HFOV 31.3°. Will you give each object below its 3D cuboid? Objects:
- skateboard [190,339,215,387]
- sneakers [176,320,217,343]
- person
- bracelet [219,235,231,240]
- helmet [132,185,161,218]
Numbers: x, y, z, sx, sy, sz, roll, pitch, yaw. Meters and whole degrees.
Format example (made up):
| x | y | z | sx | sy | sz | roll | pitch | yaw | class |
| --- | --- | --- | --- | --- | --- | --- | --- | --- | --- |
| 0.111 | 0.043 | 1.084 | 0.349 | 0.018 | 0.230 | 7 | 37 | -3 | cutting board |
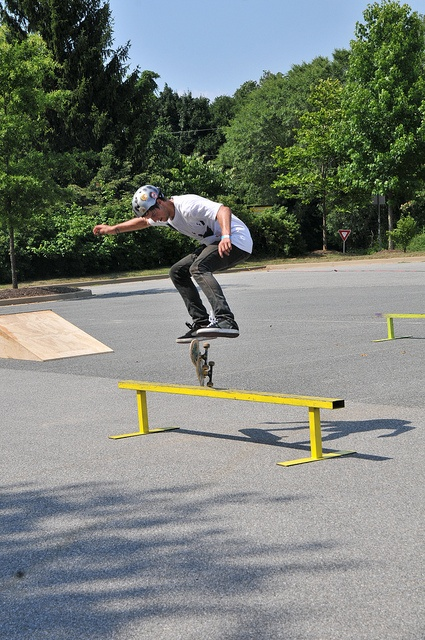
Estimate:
| x | y | z | sx | sy | sz | roll | pitch | yaw | class |
| --- | --- | --- | --- | --- | --- | --- | --- | --- | --- |
| -0.090 | 0.356 | 6.161 | 0.140 | 0.067 | 0.476 | -9 | -39 | 0 | skateboard |
| -0.143 | 0.101 | 6.486 | 0.481 | 0.203 | 0.143 | -3 | -1 | -39 | sneakers |
| -0.299 | -0.438 | 6.487 | 1.785 | 1.255 | 0.999 | -10 | -11 | 40 | person |
| 0.101 | -0.635 | 5.821 | 0.071 | 0.039 | 0.136 | -2 | 3 | -2 | bracelet |
| -0.533 | -0.986 | 6.233 | 0.259 | 0.273 | 0.302 | -2 | 2 | -2 | helmet |
